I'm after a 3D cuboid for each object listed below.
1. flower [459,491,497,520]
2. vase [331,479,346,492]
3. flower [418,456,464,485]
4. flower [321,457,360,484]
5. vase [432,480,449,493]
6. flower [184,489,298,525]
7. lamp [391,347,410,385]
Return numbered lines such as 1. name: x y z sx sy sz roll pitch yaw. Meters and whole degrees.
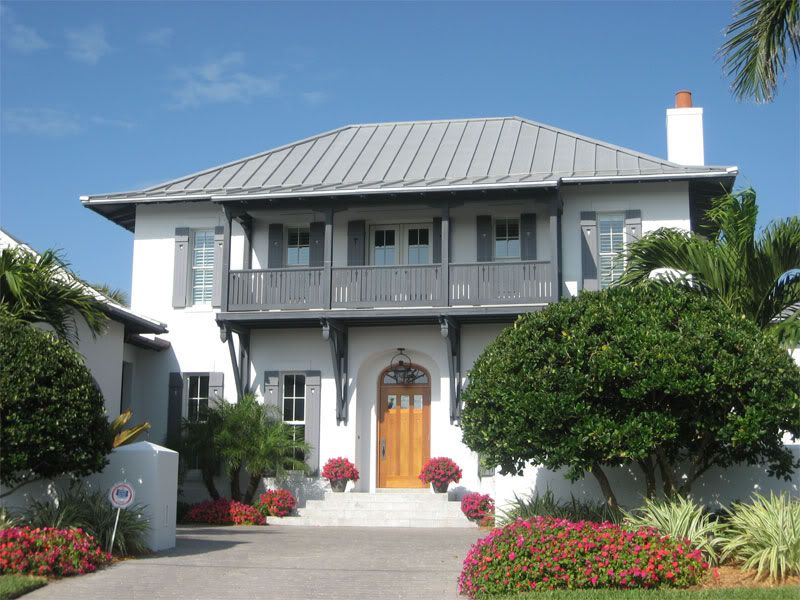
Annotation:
1. flower: 1.663 4.485 20.057 0.542 0.548 0.533 -7 -9 25
2. vase: -1.447 4.372 21.682 0.254 0.228 0.269 -2 -7 12
3. flower: 0.908 3.932 21.200 0.620 0.631 0.642 -5 -7 26
4. flower: -1.394 3.992 21.592 0.544 0.461 0.609 2 -6 -8
5. vase: 0.909 4.330 21.265 0.283 0.290 0.285 5 -9 -39
6. flower: -3.584 4.714 20.841 2.446 0.674 0.718 0 -5 -13
7. lamp: 0.016 1.659 22.628 0.527 0.788 0.217 -1 -4 3
